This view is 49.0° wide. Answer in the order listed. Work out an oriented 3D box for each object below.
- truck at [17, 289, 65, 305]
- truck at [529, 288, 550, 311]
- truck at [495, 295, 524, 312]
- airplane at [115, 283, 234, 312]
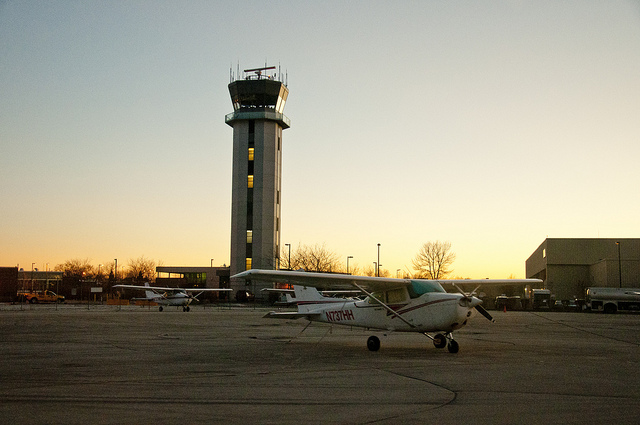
[{"bbox_3d":[-44.597,13.289,111.187,4.456,2.800,40.952,3,-8,-24],"label":"truck"},{"bbox_3d":[25.327,9.941,79.301,1.792,2.799,6.118,-2,-12,10],"label":"truck"},{"bbox_3d":[20.951,10.129,77.603,1.494,1.484,2.236,-9,-9,44],"label":"truck"},{"bbox_3d":[-15.132,8.433,68.132,7.329,2.269,9.748,-3,-12,27],"label":"airplane"}]
